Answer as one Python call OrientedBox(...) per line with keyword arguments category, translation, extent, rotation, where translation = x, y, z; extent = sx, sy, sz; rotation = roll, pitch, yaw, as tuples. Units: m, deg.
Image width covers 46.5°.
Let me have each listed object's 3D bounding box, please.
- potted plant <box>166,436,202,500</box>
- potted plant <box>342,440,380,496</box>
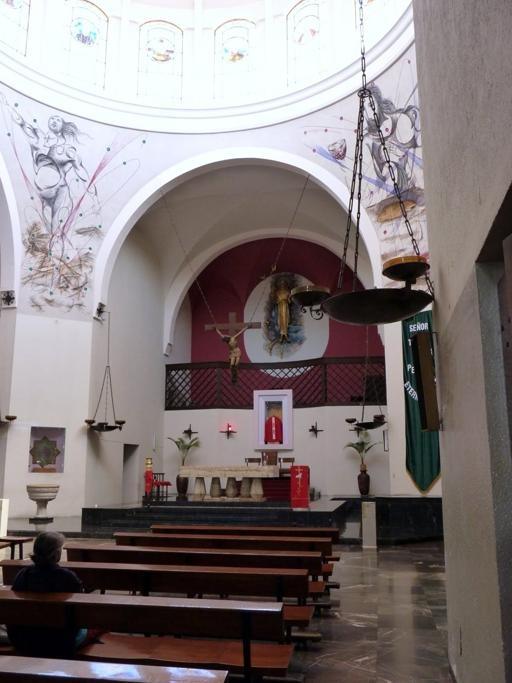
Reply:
OrientedBox(category="potted plant", translation=(-1.658, 2.830, 13.803), extent=(0.756, 1.364, 1.796), rotation=(0, -12, -8))
OrientedBox(category="potted plant", translation=(2.271, 2.718, 12.970), extent=(0.684, 1.222, 1.000), rotation=(-5, -12, 16))
